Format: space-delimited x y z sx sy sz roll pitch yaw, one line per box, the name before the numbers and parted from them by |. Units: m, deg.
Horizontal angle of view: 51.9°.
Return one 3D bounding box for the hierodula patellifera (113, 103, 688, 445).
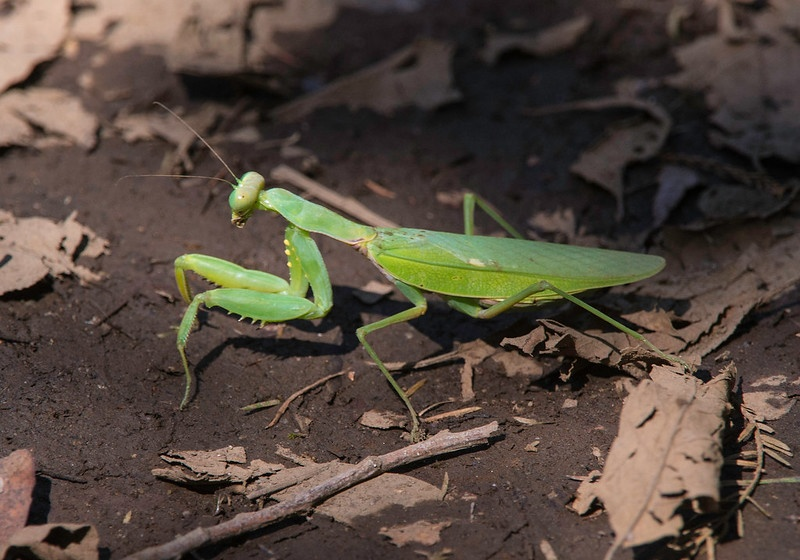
hierodula patellifera | 0.039 -0.036 5.159 2.711 1.061 1.715 -6 29 -4
